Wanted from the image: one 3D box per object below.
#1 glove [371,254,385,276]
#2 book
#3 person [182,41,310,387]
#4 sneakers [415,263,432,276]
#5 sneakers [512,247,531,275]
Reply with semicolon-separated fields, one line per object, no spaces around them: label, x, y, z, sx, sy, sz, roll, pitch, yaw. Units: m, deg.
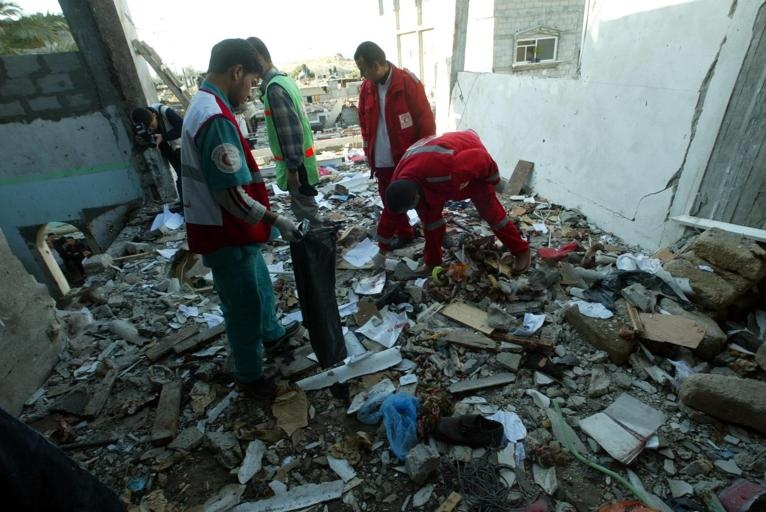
glove;-0.056;0.116;5.654;0.189;0.222;0.219;-2;55;-3
book;2.155;1.522;3.952;0.569;0.195;0.567;-36;12;-7
person;-1.291;-0.252;4.039;0.777;3.040;1.179;4;31;13
sneakers;0.497;0.183;5.474;0.178;0.164;0.126;-11;38;1
sneakers;1.679;0.059;5.369;0.109;0.327;0.146;2;15;-40
